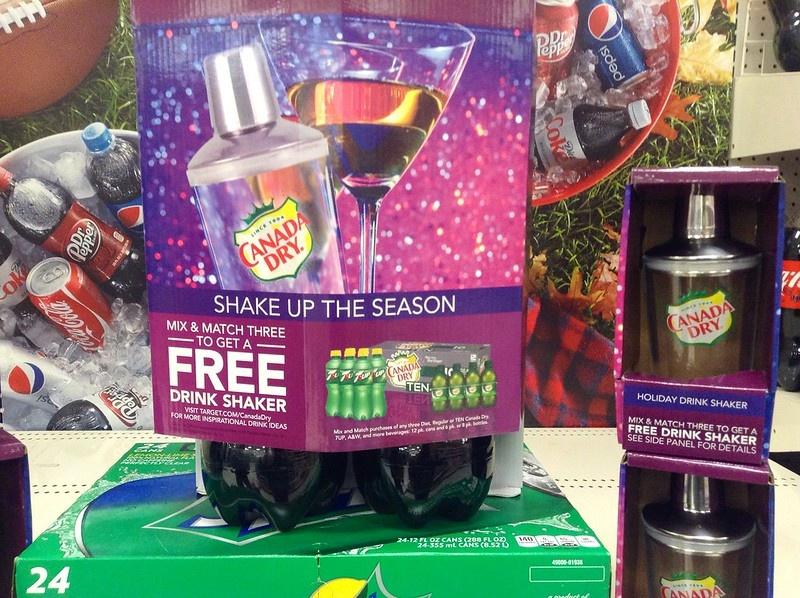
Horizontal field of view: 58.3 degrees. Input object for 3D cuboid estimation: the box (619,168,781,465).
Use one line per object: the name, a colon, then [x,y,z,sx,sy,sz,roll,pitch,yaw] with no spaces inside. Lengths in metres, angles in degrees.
box: [0.587,0.004,1.430,0.298,0.507,0.347,5,27,18]

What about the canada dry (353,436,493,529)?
canada dry: [0.045,0.328,1.445,0.312,0.202,0.238,-1,-6,-2]
